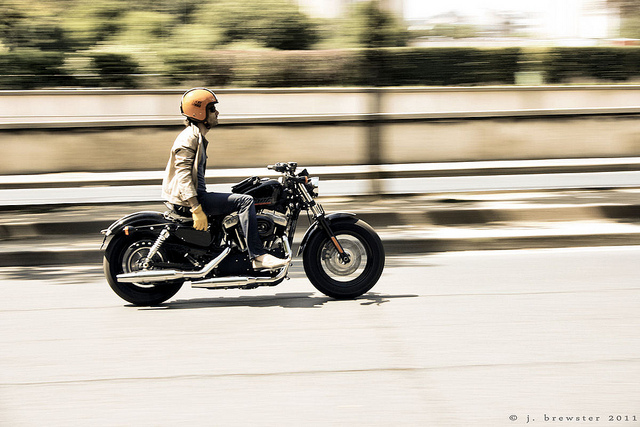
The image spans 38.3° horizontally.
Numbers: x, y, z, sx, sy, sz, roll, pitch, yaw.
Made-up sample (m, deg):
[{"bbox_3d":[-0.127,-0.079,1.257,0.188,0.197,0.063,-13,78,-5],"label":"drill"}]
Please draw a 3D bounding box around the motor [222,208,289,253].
[{"bbox_3d":[-0.764,0.209,11.941,0.904,0.546,0.304,-4,4,-9],"label":"motor"}]

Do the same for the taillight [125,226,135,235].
[{"bbox_3d":[-2.484,0.217,11.995,0.127,0.111,0.032,-2,23,3],"label":"taillight"}]

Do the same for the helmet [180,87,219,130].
[{"bbox_3d":[-1.578,-1.432,12.281,0.590,0.411,0.404,-7,23,-16],"label":"helmet"}]

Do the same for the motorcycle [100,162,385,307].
[{"bbox_3d":[-1.037,0.347,12.377,4.625,1.548,1.214,0,-4,-39],"label":"motorcycle"}]

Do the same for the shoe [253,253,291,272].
[{"bbox_3d":[-0.678,0.634,11.962,0.547,0.151,0.169,-7,1,4],"label":"shoe"}]
